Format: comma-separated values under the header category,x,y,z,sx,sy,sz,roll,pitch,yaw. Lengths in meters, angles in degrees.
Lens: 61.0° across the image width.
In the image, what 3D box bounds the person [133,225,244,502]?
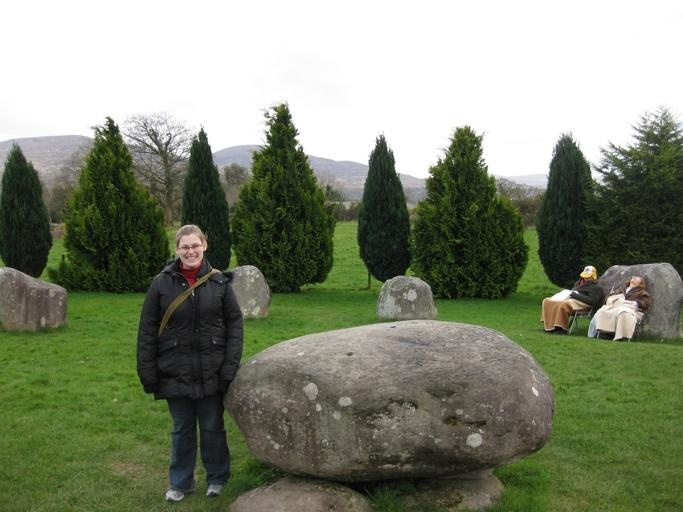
category,x,y,z,sx,sy,sz,roll,pitch,yaw
person,-1.658,1.181,6.408,1.126,2.972,0.656,-5,12,-21

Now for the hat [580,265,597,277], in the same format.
category,x,y,z,sx,sy,sz,roll,pitch,yaw
hat,6.300,0.386,14.744,0.496,0.310,0.311,3,-2,-40

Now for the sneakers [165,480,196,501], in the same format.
category,x,y,z,sx,sy,sz,roll,pitch,yaw
sneakers,-1.786,2.639,6.498,0.136,0.173,0.352,10,-11,31

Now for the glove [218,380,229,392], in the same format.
category,x,y,z,sx,sy,sz,roll,pitch,yaw
glove,-1.298,1.439,6.412,0.083,0.128,0.125,7,-6,-7
